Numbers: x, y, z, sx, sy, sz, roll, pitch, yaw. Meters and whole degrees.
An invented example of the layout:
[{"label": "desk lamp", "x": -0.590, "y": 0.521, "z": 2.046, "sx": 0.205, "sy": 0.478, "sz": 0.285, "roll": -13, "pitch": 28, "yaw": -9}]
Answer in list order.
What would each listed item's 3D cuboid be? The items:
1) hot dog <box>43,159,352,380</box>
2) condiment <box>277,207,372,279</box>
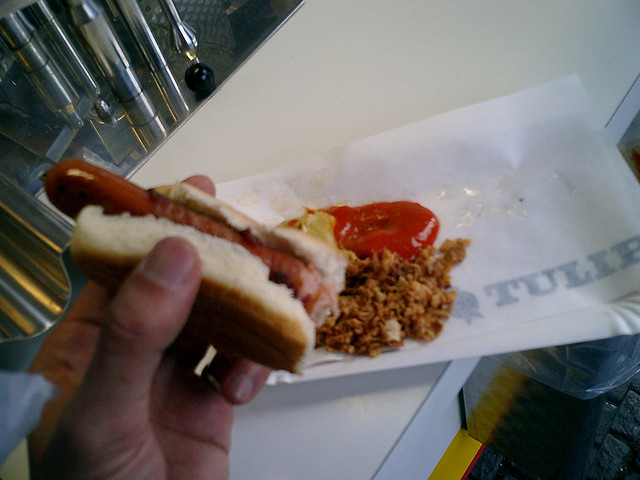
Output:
[{"label": "hot dog", "x": -0.344, "y": 0.119, "z": 1.294, "sx": 0.737, "sy": 0.280, "sz": 0.457, "roll": 27, "pitch": 42, "yaw": -3}, {"label": "condiment", "x": 0.024, "y": 0.043, "z": 2.080, "sx": 0.330, "sy": 0.108, "sz": 0.266, "roll": 36, "pitch": 38, "yaw": 6}]
